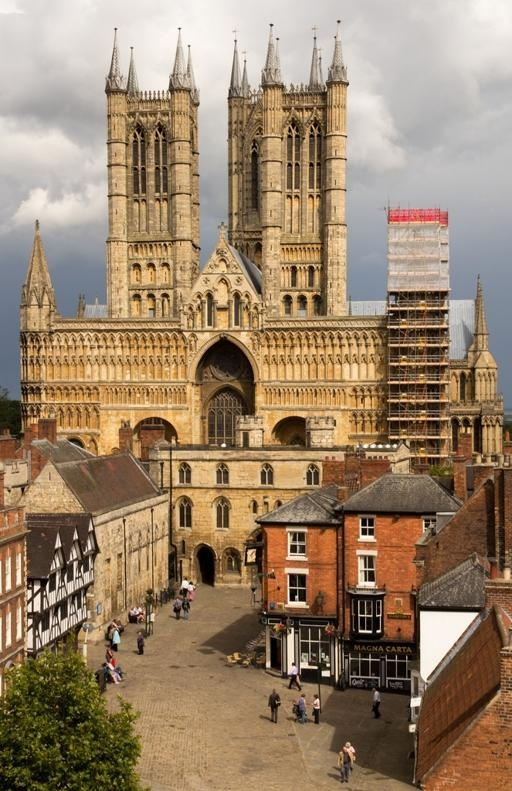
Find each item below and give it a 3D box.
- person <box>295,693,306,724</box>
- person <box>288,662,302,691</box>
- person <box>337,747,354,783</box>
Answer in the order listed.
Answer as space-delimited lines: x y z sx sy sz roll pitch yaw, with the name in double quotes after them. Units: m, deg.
1.496 10.354 48.752 0.358 0.998 1.276 0 8 2 "person"
1.506 10.265 53.452 0.610 1.284 0.465 3 -5 7 "person"
2.633 10.630 42.814 0.350 1.028 0.790 1 7 3 "person"
